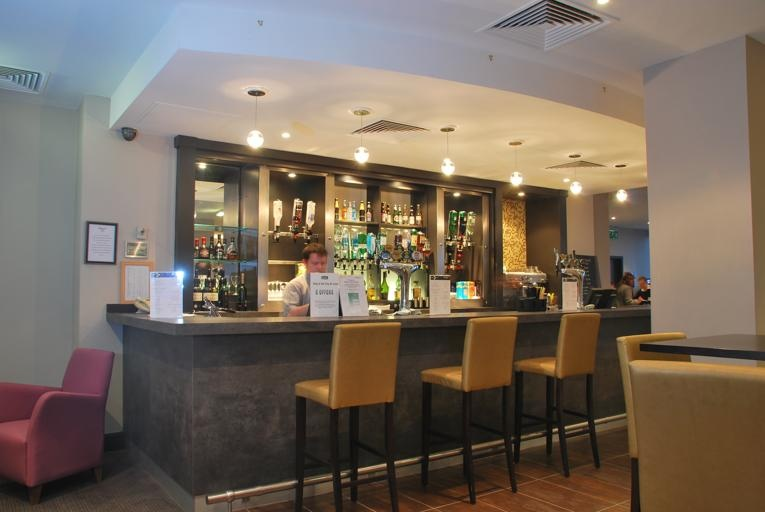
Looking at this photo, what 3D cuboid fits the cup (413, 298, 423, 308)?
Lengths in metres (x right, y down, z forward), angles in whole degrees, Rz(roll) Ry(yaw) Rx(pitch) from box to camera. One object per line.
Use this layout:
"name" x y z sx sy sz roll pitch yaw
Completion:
"cup" 0.513 0.668 8.537 0.163 0.156 0.116 4 -6 -38

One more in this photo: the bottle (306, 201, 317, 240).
"bottle" -0.922 -0.476 7.715 0.113 0.464 0.169 0 4 1

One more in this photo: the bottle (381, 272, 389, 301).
"bottle" 0.034 0.395 8.319 0.098 0.368 0.156 0 4 6

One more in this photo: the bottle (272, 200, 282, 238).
"bottle" -1.321 -0.478 7.532 0.127 0.495 0.455 -1 4 -12

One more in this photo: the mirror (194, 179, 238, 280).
"mirror" -2.066 -0.477 7.421 0.524 0.146 1.209 -17 -24 -21

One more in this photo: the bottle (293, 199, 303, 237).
"bottle" -1.095 -0.504 7.741 0.143 0.496 0.470 -1 4 -8

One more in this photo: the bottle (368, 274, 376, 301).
"bottle" -0.152 0.403 8.207 0.111 0.330 0.201 2 4 36

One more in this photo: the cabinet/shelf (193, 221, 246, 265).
"cabinet/shelf" -1.970 -0.154 7.180 0.513 0.421 0.163 3 -5 -38

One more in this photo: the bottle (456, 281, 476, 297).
"bottle" 1.238 0.494 8.874 0.315 0.246 0.173 -1 4 -1

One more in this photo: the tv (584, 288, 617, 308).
"tv" 2.673 0.509 7.302 0.331 0.233 0.193 0 4 3

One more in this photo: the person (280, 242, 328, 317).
"person" -0.785 0.229 6.029 0.432 0.698 0.719 -1 4 -10

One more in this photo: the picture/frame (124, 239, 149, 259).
"picture/frame" -2.770 -0.085 6.714 0.224 0.222 0.029 0 -4 -30

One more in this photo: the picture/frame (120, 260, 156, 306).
"picture/frame" -2.751 0.290 6.707 0.328 0.459 0.023 1 1 -7

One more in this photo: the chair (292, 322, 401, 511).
"chair" -0.291 1.301 4.841 0.844 1.595 0.789 -1 4 -9

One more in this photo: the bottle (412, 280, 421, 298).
"bottle" 0.491 0.480 8.558 0.164 0.250 0.080 -3 4 -34

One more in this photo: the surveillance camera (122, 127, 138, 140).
"surveillance camera" -2.809 -1.367 6.657 0.117 0.129 0.145 -2 -3 -32

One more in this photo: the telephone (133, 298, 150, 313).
"telephone" -2.549 0.544 6.335 0.204 0.077 0.203 26 -17 -24

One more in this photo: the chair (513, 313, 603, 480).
"chair" 1.762 1.259 5.949 0.806 1.500 1.011 1 4 28

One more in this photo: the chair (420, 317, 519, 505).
"chair" 0.776 1.281 5.374 0.874 1.541 0.845 -1 4 0

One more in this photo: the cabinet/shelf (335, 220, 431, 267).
"cabinet/shelf" -0.025 -0.137 8.105 1.212 0.554 0.191 0 -10 -6
